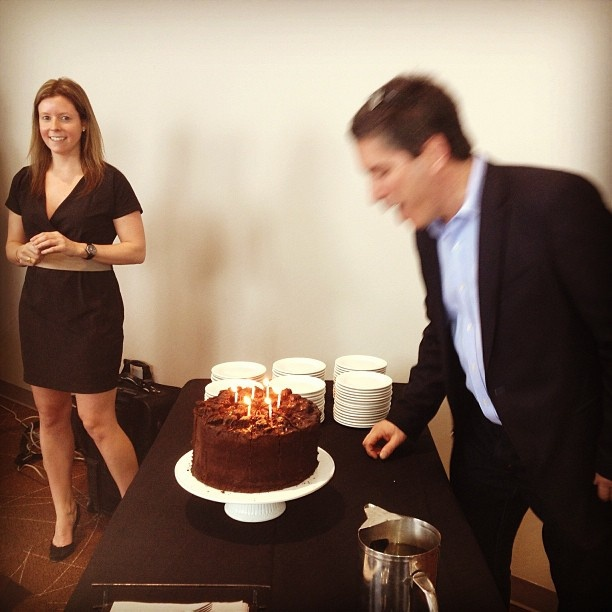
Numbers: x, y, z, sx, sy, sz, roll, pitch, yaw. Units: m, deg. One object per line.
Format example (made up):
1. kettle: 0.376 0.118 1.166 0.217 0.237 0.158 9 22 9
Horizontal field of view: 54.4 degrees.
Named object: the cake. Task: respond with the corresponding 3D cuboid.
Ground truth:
1. cake: -0.133 0.380 1.606 0.389 0.293 0.405 15 18 43
